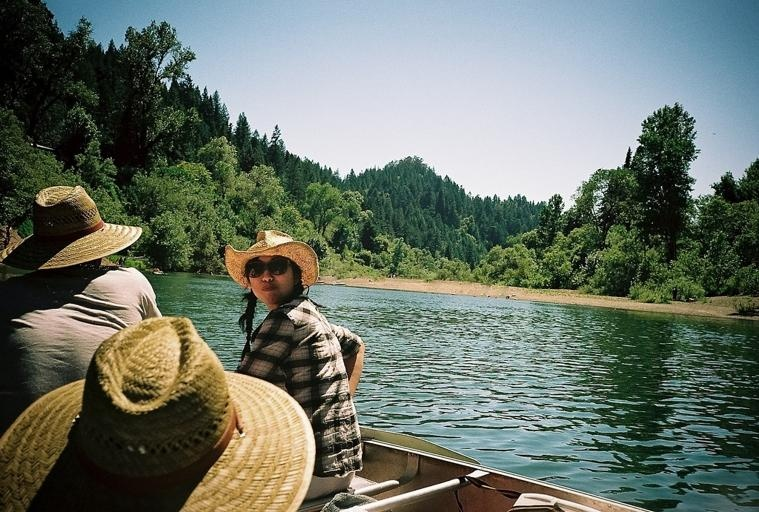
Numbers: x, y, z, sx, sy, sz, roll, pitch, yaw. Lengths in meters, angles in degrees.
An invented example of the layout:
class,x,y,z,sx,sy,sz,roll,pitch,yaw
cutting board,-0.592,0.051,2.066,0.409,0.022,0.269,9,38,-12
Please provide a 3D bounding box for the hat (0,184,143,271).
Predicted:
class,x,y,z,sx,sy,sz,roll,pitch,yaw
hat,-2.604,-0.222,4.258,0.813,0.423,0.805,-18,13,-27
